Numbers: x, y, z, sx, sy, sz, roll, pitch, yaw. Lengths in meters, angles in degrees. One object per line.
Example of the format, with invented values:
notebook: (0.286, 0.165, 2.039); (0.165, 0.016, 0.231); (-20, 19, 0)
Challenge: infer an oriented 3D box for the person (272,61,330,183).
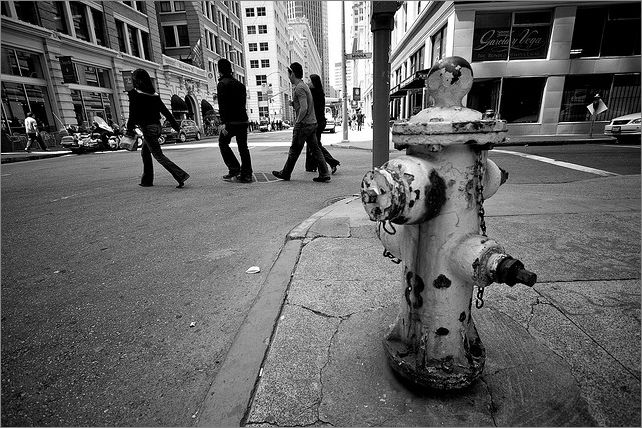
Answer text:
person: (-0.472, -1.929, 9.291); (1.127, 2.509, 0.982); (-7, 15, -7)

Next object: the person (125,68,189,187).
person: (-3.486, -1.775, 9.137); (0.941, 2.511, 1.262); (-16, 19, -36)

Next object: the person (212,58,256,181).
person: (-1.901, -1.985, 9.371); (0.718, 2.653, 1.056); (-8, 16, -11)

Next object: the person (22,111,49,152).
person: (-13.120, -3.715, 19.846); (0.800, 1.791, 1.249); (-15, 18, -33)

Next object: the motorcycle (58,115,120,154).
motorcycle: (-10.760, -3.665, 20.441); (2.358, 1.657, 1.704); (-17, 20, -37)
